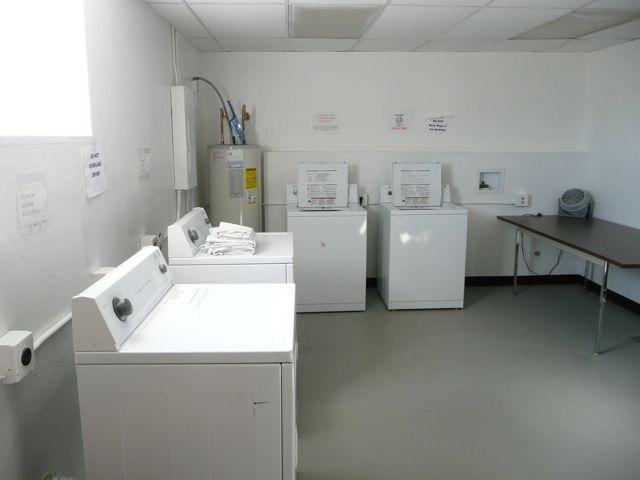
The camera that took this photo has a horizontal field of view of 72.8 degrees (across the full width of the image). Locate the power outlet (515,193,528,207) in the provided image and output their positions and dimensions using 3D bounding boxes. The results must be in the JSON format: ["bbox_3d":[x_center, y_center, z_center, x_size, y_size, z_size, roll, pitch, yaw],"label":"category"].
[{"bbox_3d":[2.270,-0.443,4.845,0.121,0.138,0.129,2,2,17],"label":"power outlet"}]
